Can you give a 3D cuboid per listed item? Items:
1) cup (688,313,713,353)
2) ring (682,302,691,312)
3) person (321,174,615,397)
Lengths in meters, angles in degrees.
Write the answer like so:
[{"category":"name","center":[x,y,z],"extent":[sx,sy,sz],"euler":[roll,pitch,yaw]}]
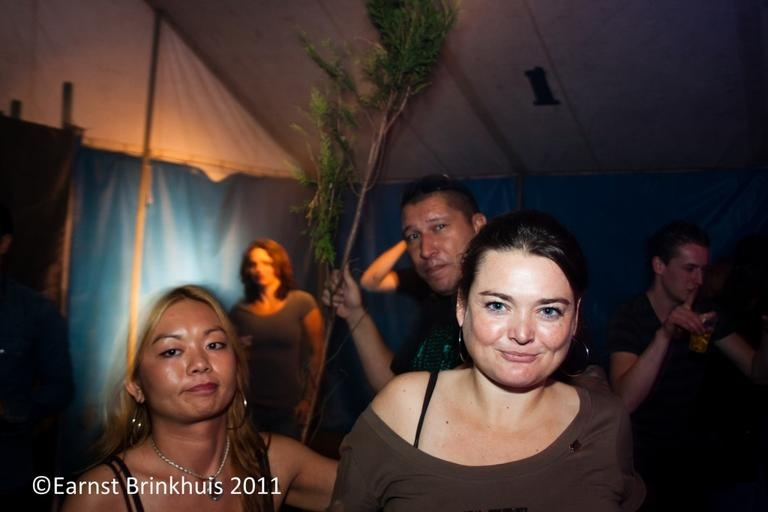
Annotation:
[{"category":"cup","center":[1.997,0.485,3.551],"extent":[0.124,0.215,0.053],"euler":[15,1,-20]},{"category":"ring","center":[1.910,0.322,3.563],"extent":[0.041,0.042,0.021],"euler":[-5,-8,12]},{"category":"person","center":[0.405,0.222,3.254],"extent":[0.563,1.610,0.887],"euler":[15,-26,-37]}]
